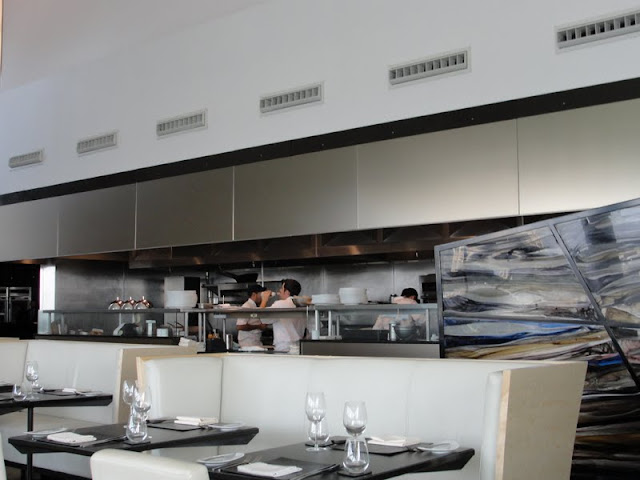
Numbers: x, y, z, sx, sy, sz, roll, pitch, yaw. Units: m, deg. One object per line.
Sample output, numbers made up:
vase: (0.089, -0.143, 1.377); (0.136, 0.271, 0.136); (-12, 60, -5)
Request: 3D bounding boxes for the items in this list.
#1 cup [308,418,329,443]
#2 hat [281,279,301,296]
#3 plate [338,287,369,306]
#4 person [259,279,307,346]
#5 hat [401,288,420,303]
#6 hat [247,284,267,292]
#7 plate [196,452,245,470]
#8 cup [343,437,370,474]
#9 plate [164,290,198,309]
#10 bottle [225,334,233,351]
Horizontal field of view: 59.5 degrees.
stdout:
cup: (-0.001, 0.778, 2.347); (0.119, 0.113, 0.119); (0, -12, 0)
hat: (-0.283, 0.450, 5.678); (0.166, 0.197, 0.187); (-3, -17, -29)
plate: (0.278, 0.481, 4.874); (0.173, 0.105, 0.174); (1, -3, 11)
person: (-0.323, 0.675, 5.336); (0.458, 0.746, 1.513); (-2, -11, -6)
hat: (0.957, 0.584, 5.953); (0.107, 0.132, 0.127); (17, -28, 49)
hat: (-0.665, 0.515, 6.059); (0.166, 0.066, 0.122); (0, -2, -18)
plate: (-0.386, 0.835, 2.140); (0.153, 0.020, 0.228); (-5, -11, 13)
cup: (0.111, 0.773, 2.028); (0.107, 0.142, 0.103); (0, -12, 0)
plate: (-1.492, 0.625, 6.017); (0.315, 0.203, 0.279); (-1, -11, -12)
bottle: (-0.840, 0.936, 5.176); (0.058, 0.145, 0.279); (-1, -11, -10)
